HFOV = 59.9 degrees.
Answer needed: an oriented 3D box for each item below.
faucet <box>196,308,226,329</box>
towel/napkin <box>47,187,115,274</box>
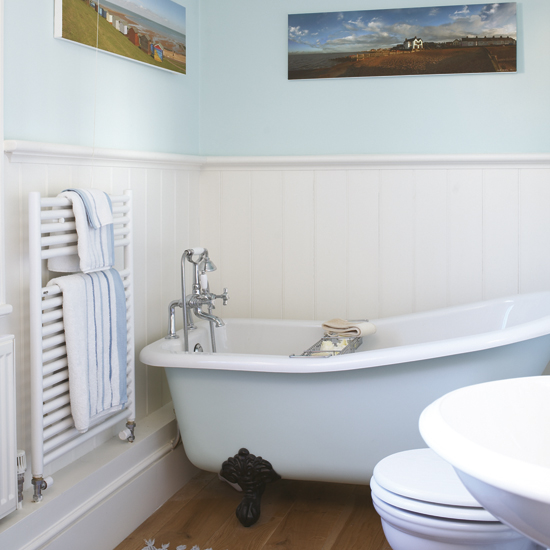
[{"bbox_3d":[-0.291,0.192,2.137,0.202,0.090,0.066,4,12,44],"label":"faucet"},{"bbox_3d":[-0.652,-0.158,1.624,0.206,0.272,0.228,-4,5,-24],"label":"towel/napkin"}]
